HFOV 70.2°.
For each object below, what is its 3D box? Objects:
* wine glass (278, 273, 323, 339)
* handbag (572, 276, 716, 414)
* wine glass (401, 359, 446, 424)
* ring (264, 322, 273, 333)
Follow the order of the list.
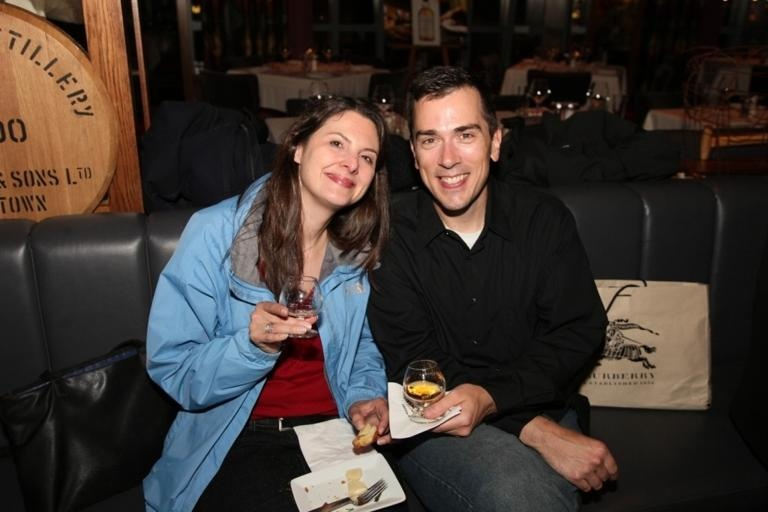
[{"bbox_3d":[-0.318,0.188,2.107,0.229,0.309,0.211,0,3,-6],"label":"wine glass"},{"bbox_3d":[1.239,0.432,2.627,0.677,0.588,0.237,0,8,0],"label":"handbag"},{"bbox_3d":[0.152,0.524,2.157,0.155,0.208,0.135,2,19,13],"label":"wine glass"},{"bbox_3d":[-0.441,0.273,2.078,0.033,0.032,0.010,7,2,28],"label":"ring"}]
